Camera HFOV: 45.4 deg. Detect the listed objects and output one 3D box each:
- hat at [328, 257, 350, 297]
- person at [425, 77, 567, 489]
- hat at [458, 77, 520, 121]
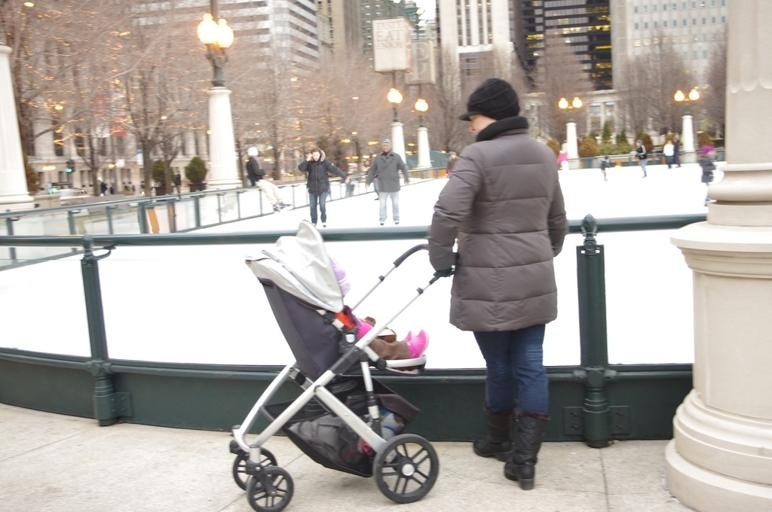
[{"bbox_3d":[-0.332,0.155,6.874,0.100,0.255,0.176,-10,13,43],"label":"hat"},{"bbox_3d":[0.879,0.193,7.134,0.863,3.113,0.923,0,15,24],"label":"person"},{"bbox_3d":[0.814,-1.241,7.143,0.544,0.250,0.313,-4,21,12],"label":"hat"}]
